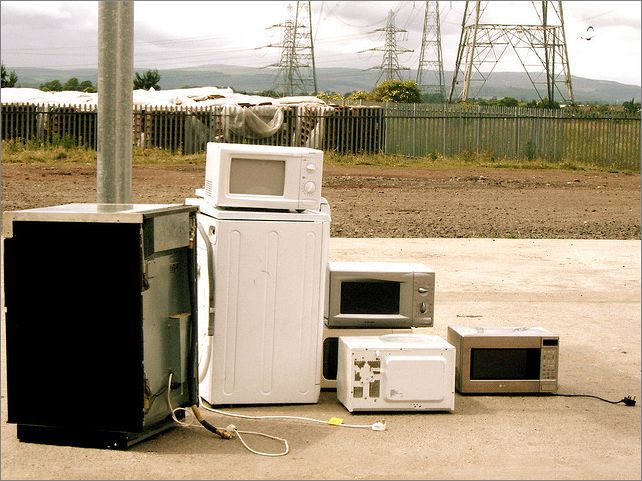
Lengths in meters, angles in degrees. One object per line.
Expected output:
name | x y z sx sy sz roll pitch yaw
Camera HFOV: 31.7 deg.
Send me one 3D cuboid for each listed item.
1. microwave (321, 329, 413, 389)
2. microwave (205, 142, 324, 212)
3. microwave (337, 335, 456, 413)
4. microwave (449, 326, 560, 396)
microwave | 0.373 1.157 12.161 0.926 0.591 0.817 0 10 -6
microwave | -0.481 -0.479 11.654 1.084 0.687 0.840 4 -19 0
microwave | 0.762 1.348 11.442 1.178 0.704 0.385 0 9 -2
microwave | 1.927 1.261 11.742 1.117 0.649 0.215 0 8 -2
